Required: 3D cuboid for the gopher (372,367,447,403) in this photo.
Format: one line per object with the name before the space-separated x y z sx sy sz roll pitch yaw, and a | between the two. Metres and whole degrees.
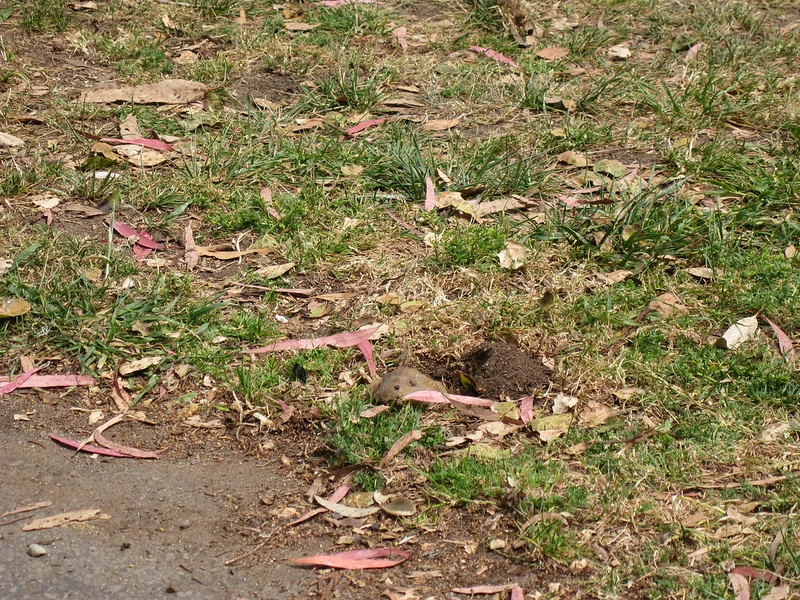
gopher | 0.040 0.415 4.247 0.359 0.116 0.196 -10 40 -28
